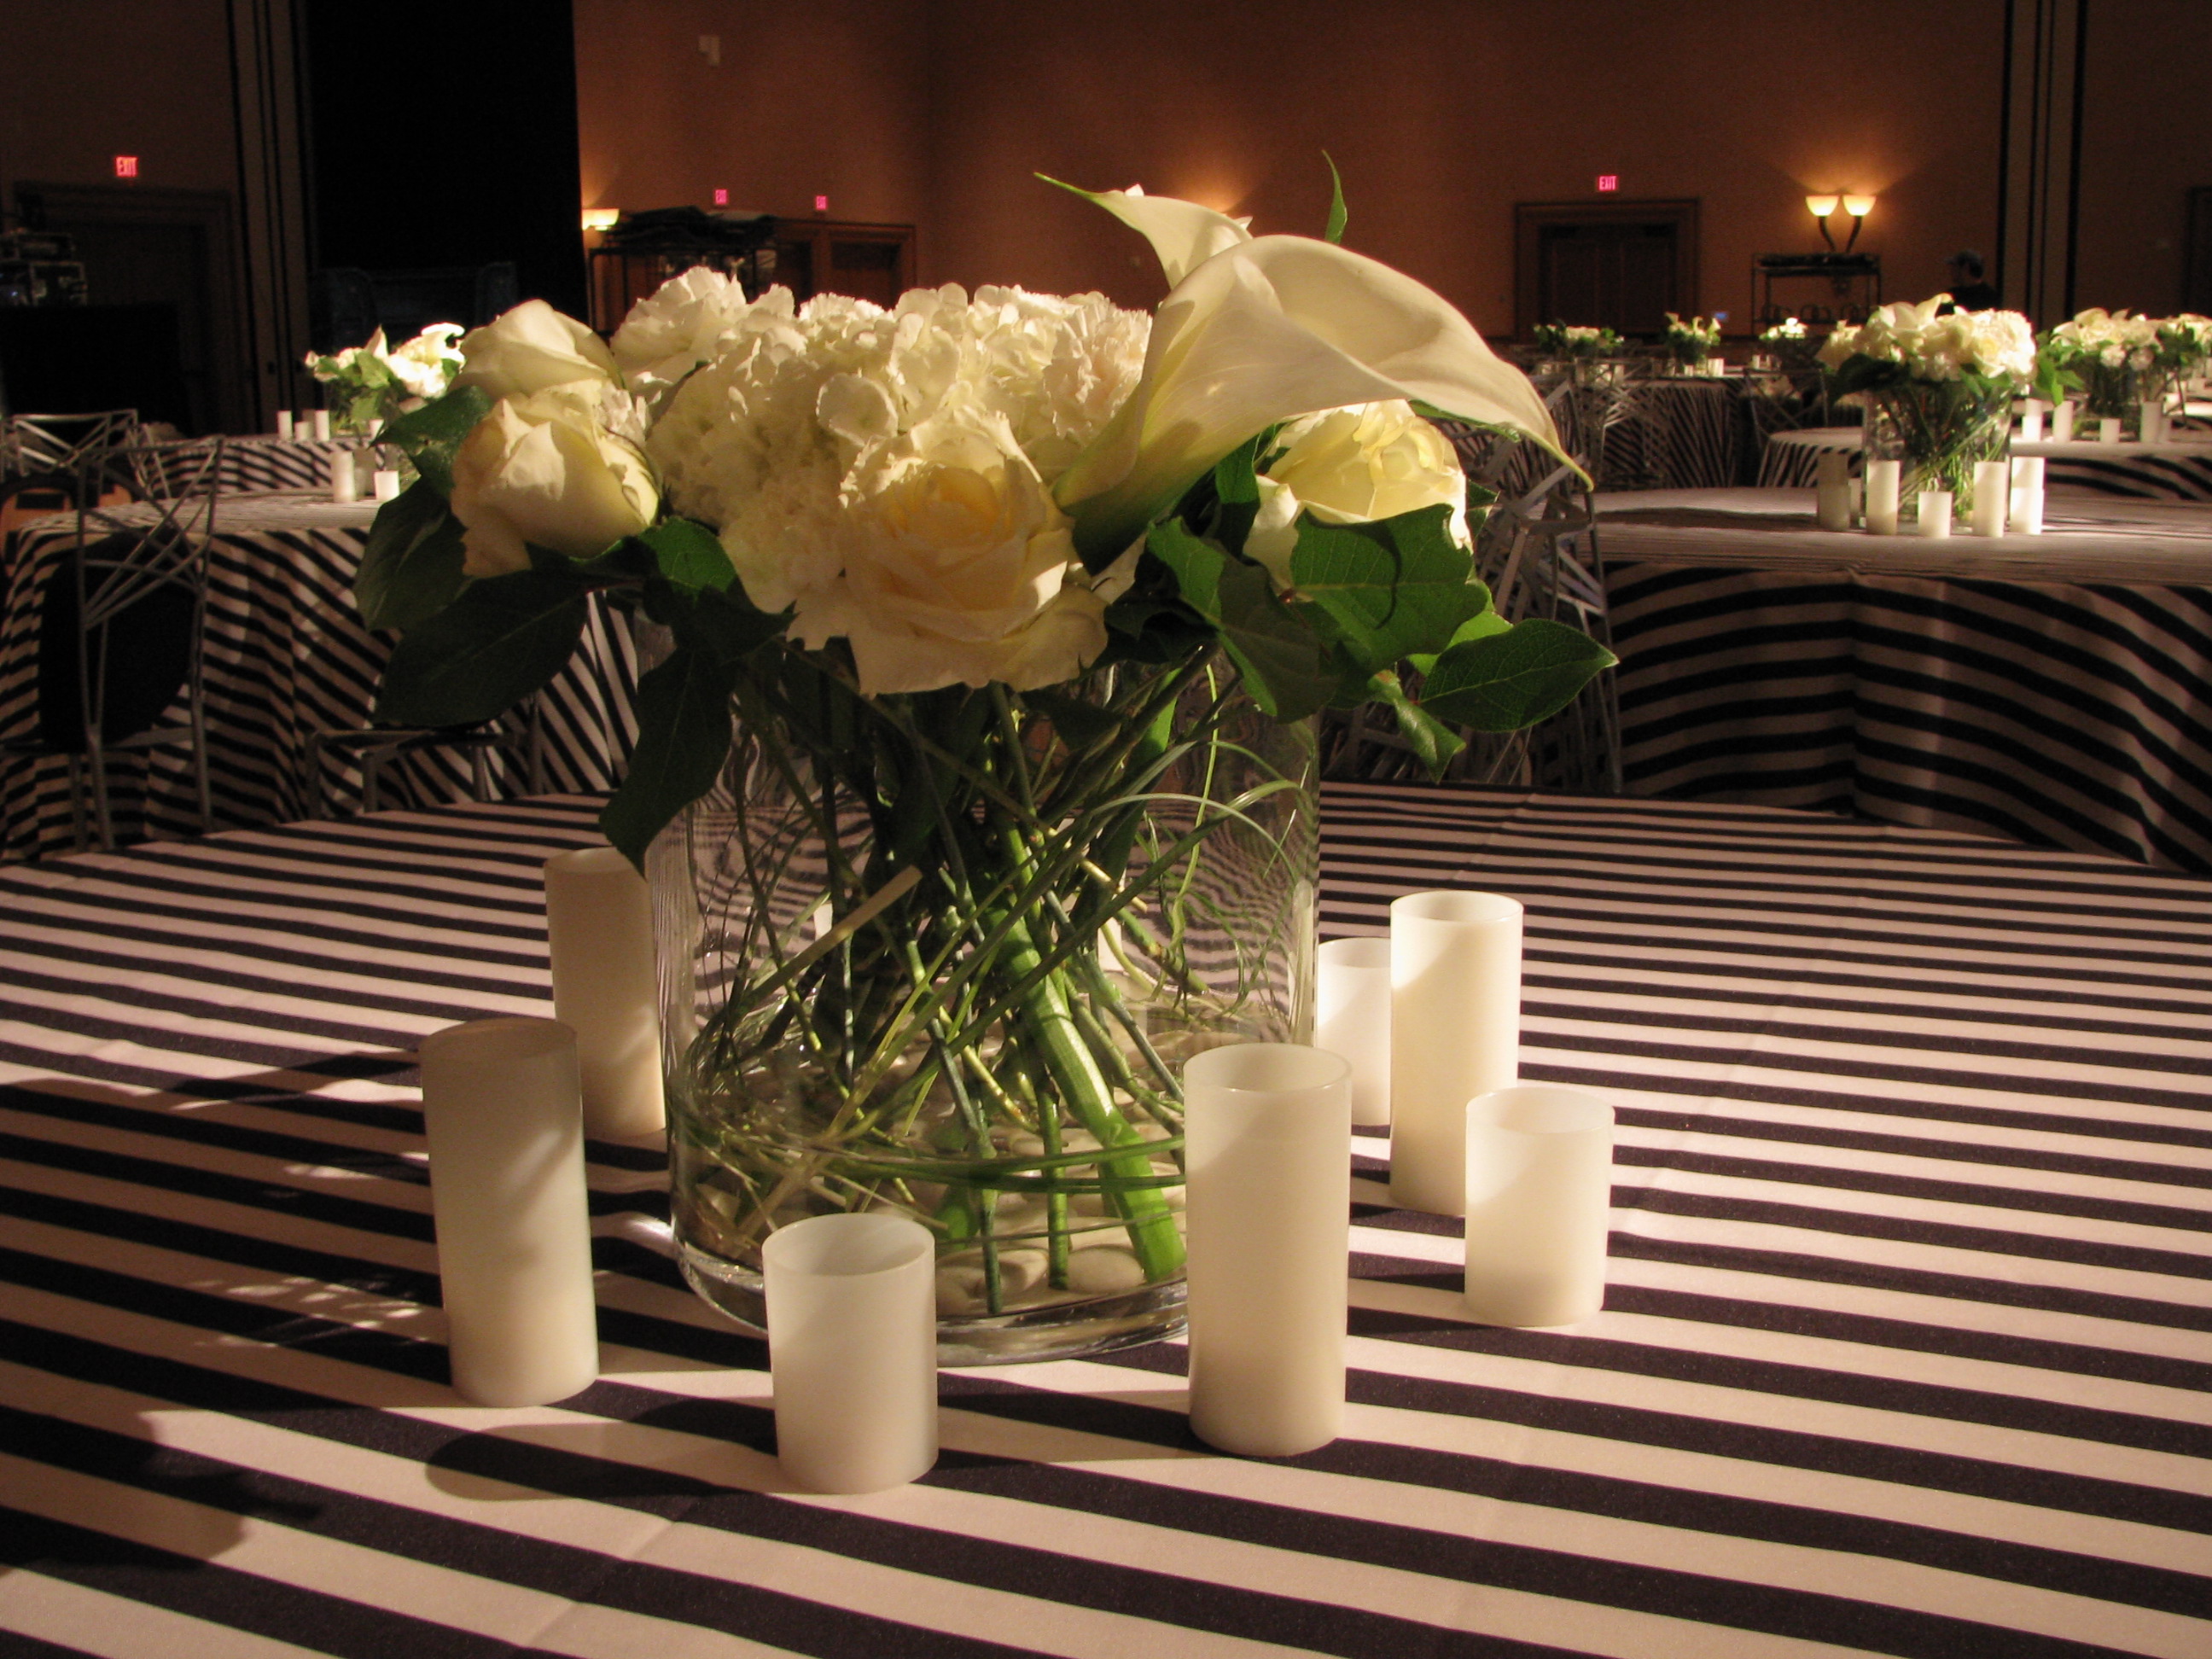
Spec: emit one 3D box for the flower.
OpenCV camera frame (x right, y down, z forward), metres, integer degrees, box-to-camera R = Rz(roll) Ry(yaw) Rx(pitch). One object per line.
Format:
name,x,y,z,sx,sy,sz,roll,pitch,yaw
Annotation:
flower,-0.071,-0.070,0.802,0.556,0.434,0.527,1,4,-9

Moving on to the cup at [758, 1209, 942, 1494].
cup,-0.099,0.203,0.617,0.063,0.097,0.059,-1,15,0
